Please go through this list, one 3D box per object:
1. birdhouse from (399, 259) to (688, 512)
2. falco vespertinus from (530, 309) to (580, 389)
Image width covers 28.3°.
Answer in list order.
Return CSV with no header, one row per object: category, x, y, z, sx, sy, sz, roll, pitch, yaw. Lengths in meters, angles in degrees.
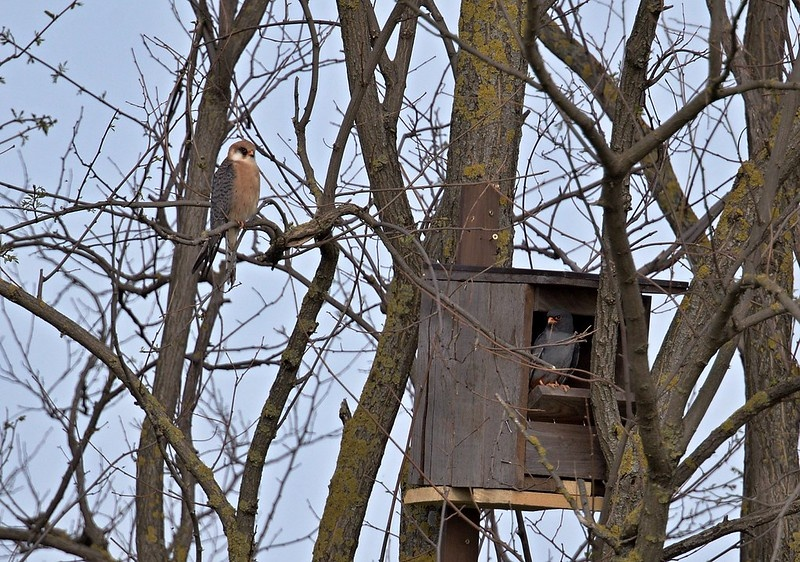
birdhouse,1.065,0.781,12.265,1.429,1.804,1.669,6,-5,-28
falco vespertinus,1.209,0.516,12.406,0.366,0.717,0.437,5,7,12
